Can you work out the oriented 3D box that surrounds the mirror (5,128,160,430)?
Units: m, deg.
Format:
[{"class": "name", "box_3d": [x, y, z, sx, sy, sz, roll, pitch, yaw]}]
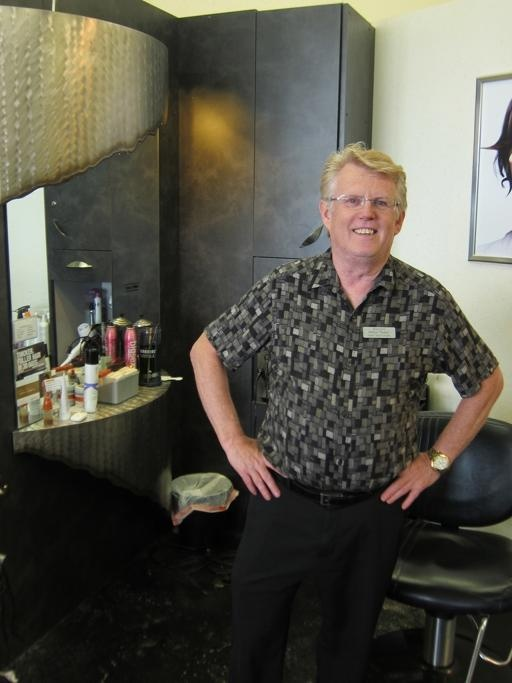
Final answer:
[{"class": "mirror", "box_3d": [-0.669, -0.274, 2.348, 0.152, 1.004, 1.005, 3, 8, 19]}]

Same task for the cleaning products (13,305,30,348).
[{"class": "cleaning products", "box_3d": [-0.793, -0.048, 1.976, 0.065, 0.155, 0.030, -12, -27, -9]}]

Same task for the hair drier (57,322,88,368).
[{"class": "hair drier", "box_3d": [-0.718, 0.014, 2.350, 0.057, 0.060, 0.222, 16, 49, 6]}]

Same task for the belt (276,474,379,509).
[{"class": "belt", "box_3d": [0.165, 0.369, 1.415, 0.248, 0.049, 0.051, 2, 8, 13]}]

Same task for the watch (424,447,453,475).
[{"class": "watch", "box_3d": [0.463, 0.305, 1.487, 0.044, 0.066, 0.063, -27, -13, 5]}]

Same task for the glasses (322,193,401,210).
[{"class": "glasses", "box_3d": [0.242, -0.321, 1.353, 0.147, 0.037, 0.050, 3, 8, 18]}]

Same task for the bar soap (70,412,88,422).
[{"class": "bar soap", "box_3d": [-0.628, 0.264, 2.059, 0.028, 0.012, 0.050, 0, 10, -3]}]
